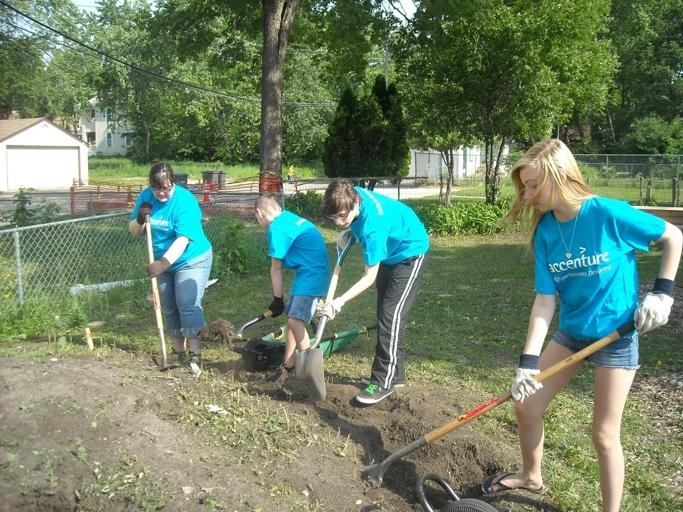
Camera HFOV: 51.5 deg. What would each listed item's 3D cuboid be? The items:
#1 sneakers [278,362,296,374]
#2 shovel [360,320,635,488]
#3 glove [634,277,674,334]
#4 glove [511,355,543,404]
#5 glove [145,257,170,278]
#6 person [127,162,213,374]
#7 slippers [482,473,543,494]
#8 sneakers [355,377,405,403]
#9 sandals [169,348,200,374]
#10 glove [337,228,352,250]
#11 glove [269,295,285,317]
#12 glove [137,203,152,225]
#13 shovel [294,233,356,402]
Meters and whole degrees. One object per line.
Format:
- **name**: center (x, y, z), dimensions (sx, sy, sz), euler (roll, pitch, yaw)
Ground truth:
- **sneakers**: center (-0.629, 1.305, 8.295), dimensions (0.131, 0.111, 0.279), euler (5, 15, 11)
- **shovel**: center (1.561, 1.552, 7.138), dimensions (2.809, 0.406, 0.243), euler (-33, -46, 27)
- **glove**: center (2.686, 0.479, 6.019), dimensions (0.203, 0.491, 0.305), euler (36, -27, -30)
- **glove**: center (1.571, 1.071, 6.195), dimensions (0.176, 0.254, 0.401), euler (-1, 28, 0)
- **glove**: center (-2.053, 0.132, 7.957), dimensions (0.250, 0.152, 0.146), euler (-7, 23, 27)
- **person**: center (-1.948, 0.150, 8.234), dimensions (0.827, 2.407, 0.750), euler (-3, 5, -31)
- **slippers**: center (1.592, 2.138, 6.661), dimensions (0.489, 0.117, 0.225), euler (-4, 22, 28)
- **sneakers**: center (0.450, 1.470, 7.756), dimensions (0.662, 0.259, 0.220), euler (5, 6, -42)
- **sandals**: center (-1.820, 1.245, 8.230), dimensions (0.510, 0.218, 0.174), euler (-5, -4, 43)
- **glove**: center (0.034, -0.191, 7.816), dimensions (0.133, 0.229, 0.082), euler (1, -34, 39)
- **glove**: center (-0.737, 0.579, 8.232), dimensions (0.236, 0.224, 0.170), euler (20, 1, -6)
- **glove**: center (-2.256, -0.477, 8.115), dimensions (0.073, 0.208, 0.163), euler (19, -8, 30)
- **shovel**: center (-0.178, 0.663, 7.624), dimensions (0.674, 1.834, 0.823), euler (-1, 4, -1)
